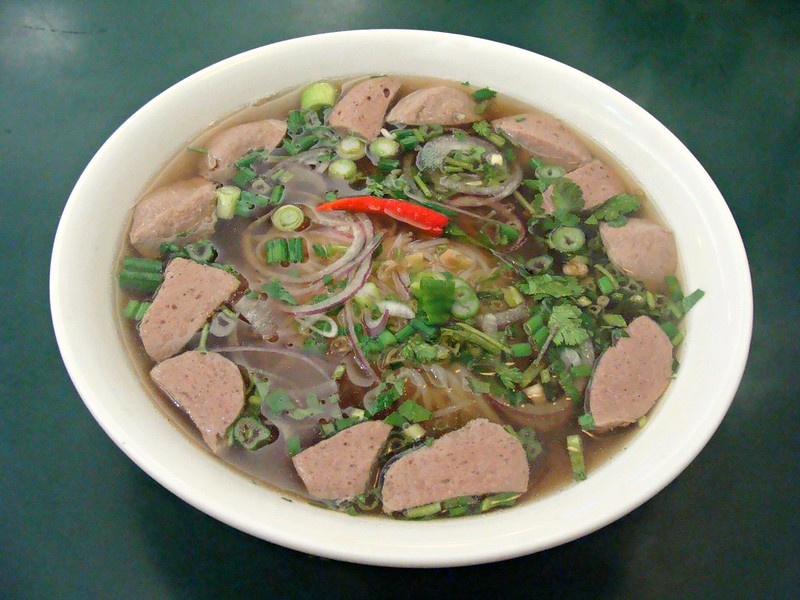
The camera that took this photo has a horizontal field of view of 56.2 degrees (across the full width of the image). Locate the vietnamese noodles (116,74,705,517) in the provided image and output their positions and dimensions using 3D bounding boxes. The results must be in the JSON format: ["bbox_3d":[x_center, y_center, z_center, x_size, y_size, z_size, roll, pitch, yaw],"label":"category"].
[{"bbox_3d":[0.047,0.047,3.659,1.953,0.344,1.706,20,84,10],"label":"vietnamese noodles"}]
